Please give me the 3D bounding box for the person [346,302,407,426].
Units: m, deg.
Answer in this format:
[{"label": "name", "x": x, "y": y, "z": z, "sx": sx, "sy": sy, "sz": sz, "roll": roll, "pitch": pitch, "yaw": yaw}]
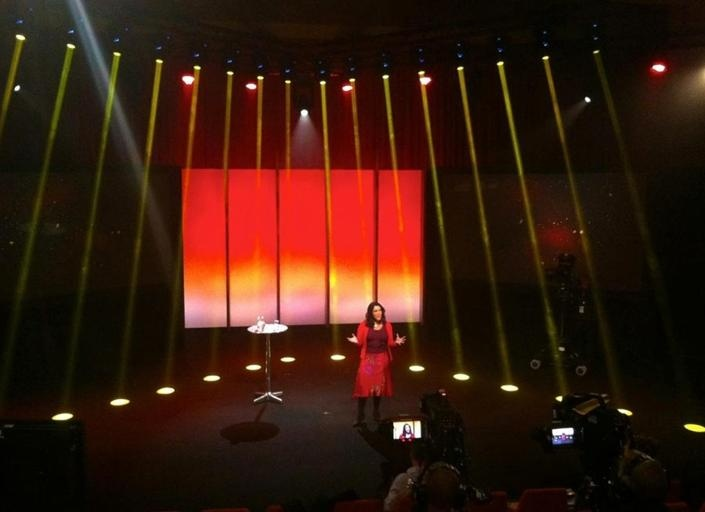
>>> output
[{"label": "person", "x": 0.336, "y": 1.517, "z": 7.955, "sx": 0.673, "sy": 1.615, "sz": 0.861, "roll": -1, "pitch": -22, "yaw": -1}]
